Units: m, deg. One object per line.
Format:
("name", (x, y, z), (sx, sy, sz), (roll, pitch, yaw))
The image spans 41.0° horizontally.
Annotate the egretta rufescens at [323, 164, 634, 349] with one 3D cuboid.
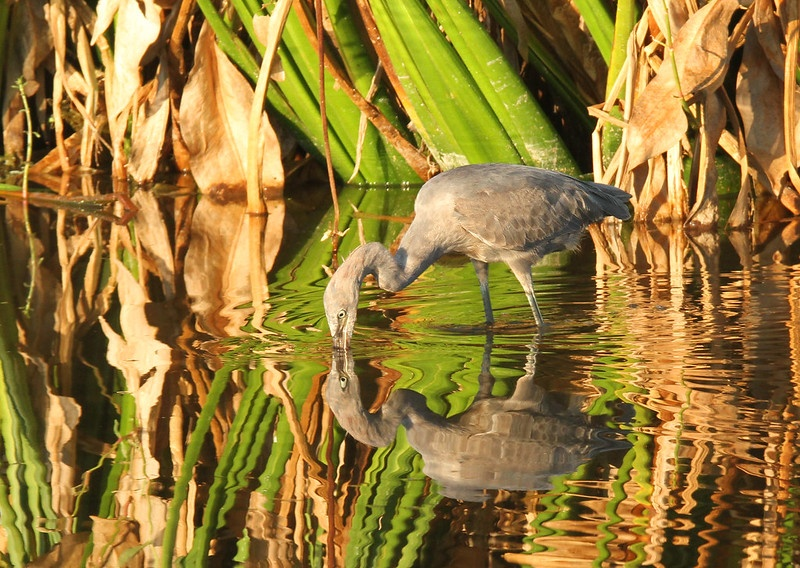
("egretta rufescens", (0.419, -0.239, 6.966), (2.114, 1.119, 0.756), (-4, 6, -44))
